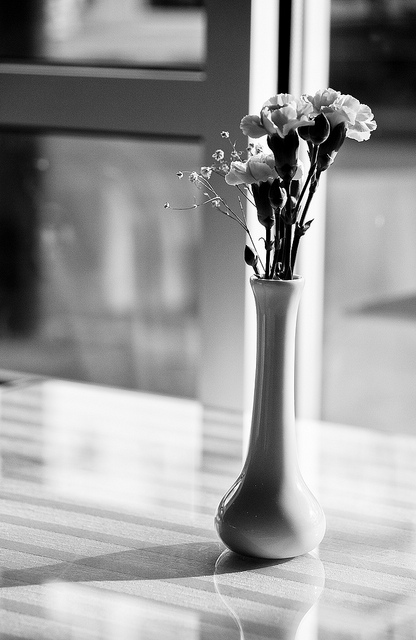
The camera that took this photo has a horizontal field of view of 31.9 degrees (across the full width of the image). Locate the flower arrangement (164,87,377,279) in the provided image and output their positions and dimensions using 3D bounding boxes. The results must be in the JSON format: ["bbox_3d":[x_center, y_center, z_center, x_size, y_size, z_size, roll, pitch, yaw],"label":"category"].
[{"bbox_3d":[0.068,-0.117,0.653,0.138,0.158,0.138,0,10,19],"label":"flower arrangement"}]

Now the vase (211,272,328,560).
[{"bbox_3d":[0.071,0.095,0.738,0.128,0.282,0.138,2,6,1],"label":"vase"}]
